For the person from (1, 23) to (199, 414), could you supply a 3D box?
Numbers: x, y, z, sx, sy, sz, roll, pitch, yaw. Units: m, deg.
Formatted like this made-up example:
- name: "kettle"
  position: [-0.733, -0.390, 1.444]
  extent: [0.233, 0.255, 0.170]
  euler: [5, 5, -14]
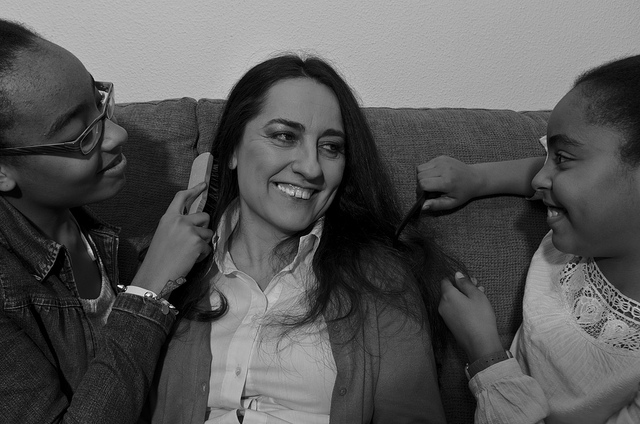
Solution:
- name: "person"
  position: [-0.701, 0.027, 1.769]
  extent: [0.625, 1.155, 0.673]
  euler: [-5, 26, -12]

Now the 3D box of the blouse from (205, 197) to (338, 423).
- name: "blouse"
  position: [-0.203, 0.349, 1.943]
  extent: [0.426, 0.694, 0.198]
  euler: [-1, -14, 9]

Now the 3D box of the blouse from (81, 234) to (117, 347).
- name: "blouse"
  position: [-0.798, 0.293, 2.016]
  extent: [0.090, 0.221, 0.225]
  euler: [-4, 25, -8]

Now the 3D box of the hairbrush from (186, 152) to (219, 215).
- name: "hairbrush"
  position: [-0.456, -0.099, 2.141]
  extent: [0.105, 0.236, 0.191]
  euler: [1, 25, 1]
